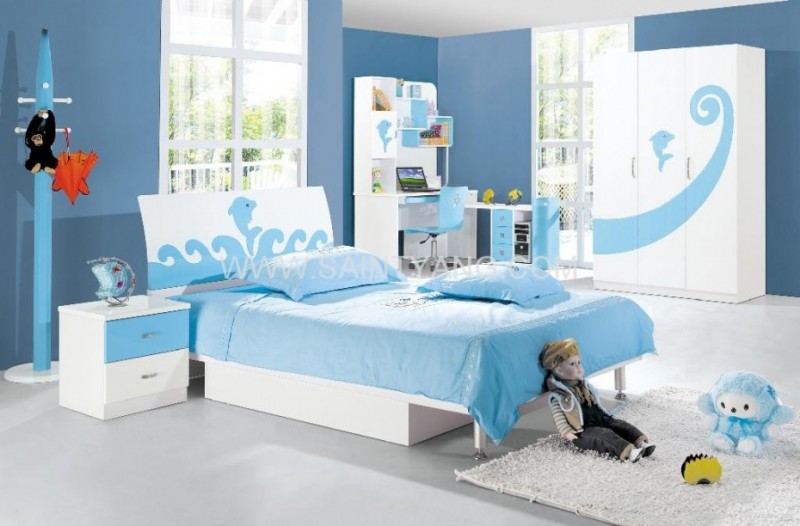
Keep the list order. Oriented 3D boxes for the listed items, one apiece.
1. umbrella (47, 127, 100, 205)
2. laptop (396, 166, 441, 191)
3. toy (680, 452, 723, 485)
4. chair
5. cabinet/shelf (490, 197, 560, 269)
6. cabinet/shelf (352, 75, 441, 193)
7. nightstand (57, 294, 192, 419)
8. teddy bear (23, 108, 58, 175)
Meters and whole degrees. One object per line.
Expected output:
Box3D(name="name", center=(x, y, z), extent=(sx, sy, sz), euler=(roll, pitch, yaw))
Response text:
Box3D(name="umbrella", center=(-2.545, -0.784, 4.608), extent=(0.369, 0.566, 0.374), euler=(-5, -8, 38))
Box3D(name="laptop", center=(0.204, -1.268, 8.870), extent=(0.435, 0.335, 0.556), euler=(6, 8, 43))
Box3D(name="toy", center=(1.477, 1.013, 2.883), extent=(0.167, 0.159, 0.049), euler=(31, -7, 1))
Box3D(name="chair", center=(0.519, -0.493, 8.444), extent=(0.826, 1.165, 0.802), euler=(-6, 11, -25))
Box3D(name="cabinet/shelf", center=(1.774, -0.368, 8.738), extent=(0.912, 0.890, 0.469), euler=(2, -13, 10))
Box3D(name="cabinet/shelf", center=(-0.115, -1.960, 8.883), extent=(0.546, 2.129, 1.900), euler=(2, 5, 39))
Box3D(name="nightstand", center=(-1.948, 0.666, 4.110), extent=(0.562, 0.686, 0.694), euler=(2, 2, 26))
Box3D(name="teddy bear", center=(-2.684, -0.911, 4.374), extent=(0.214, 0.474, 0.128), euler=(-7, 12, -32))
